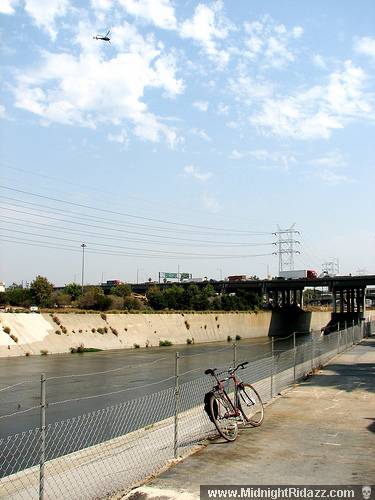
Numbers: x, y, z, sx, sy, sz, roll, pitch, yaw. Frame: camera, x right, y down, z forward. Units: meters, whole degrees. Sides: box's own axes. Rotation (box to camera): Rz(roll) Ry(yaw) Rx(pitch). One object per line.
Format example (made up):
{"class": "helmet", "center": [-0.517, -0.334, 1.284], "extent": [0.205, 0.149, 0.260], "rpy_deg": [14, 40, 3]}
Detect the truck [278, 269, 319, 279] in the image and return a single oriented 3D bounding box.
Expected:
{"class": "truck", "center": [22.664, 5.136, 101.251], "extent": [4.644, 1.801, 9.876], "rpy_deg": [5, -3, -32]}

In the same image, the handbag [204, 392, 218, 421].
{"class": "handbag", "center": [0.410, 2.875, 8.848], "extent": [0.112, 0.460, 0.447], "rpy_deg": [-11, 3, 21]}
